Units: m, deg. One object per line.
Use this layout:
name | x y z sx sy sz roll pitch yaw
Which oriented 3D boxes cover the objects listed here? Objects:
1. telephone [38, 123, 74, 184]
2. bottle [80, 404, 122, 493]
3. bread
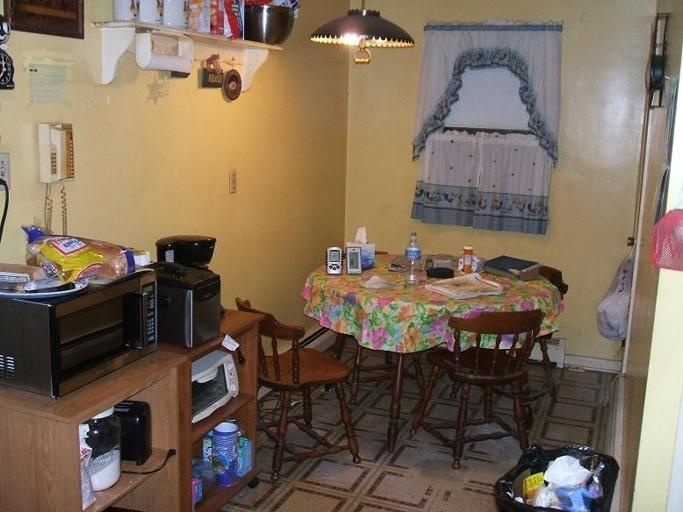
telephone | -1.251 -0.445 2.432 0.077 0.281 0.243 2 6 7
bottle | -0.913 0.742 2.140 0.126 0.251 0.149 12 14 43
bread | -0.998 0.047 2.110 0.261 0.085 0.197 8 14 -17
